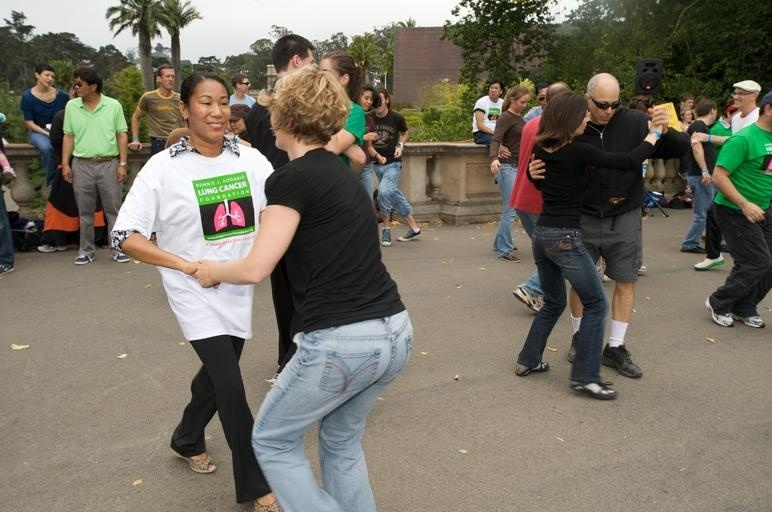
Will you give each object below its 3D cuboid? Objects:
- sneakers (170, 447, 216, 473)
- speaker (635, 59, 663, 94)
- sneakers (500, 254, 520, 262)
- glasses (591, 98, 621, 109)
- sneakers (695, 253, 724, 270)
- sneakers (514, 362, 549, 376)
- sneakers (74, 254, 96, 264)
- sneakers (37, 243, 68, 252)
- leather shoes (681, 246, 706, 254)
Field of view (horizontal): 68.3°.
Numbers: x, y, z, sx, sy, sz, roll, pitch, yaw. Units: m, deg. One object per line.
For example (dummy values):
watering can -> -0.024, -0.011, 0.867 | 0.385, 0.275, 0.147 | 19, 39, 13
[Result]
sneakers -> -1.410, 1.488, 4.148 | 0.344, 0.098, 0.151 | 20, 25, 18
speaker -> 2.576, -1.768, 5.603 | 0.226, 0.334, 0.226 | 4, 15, 20
sneakers -> 1.924, 0.007, 8.835 | 0.354, 0.112, 0.240 | -4, 14, -13
glasses -> 2.008, -1.399, 5.211 | 0.257, 0.103, 0.150 | 2, 14, 10
sneakers -> 4.834, 0.078, 8.463 | 0.526, 0.200, 0.199 | -15, 1, -1
sneakers -> 1.366, 1.038, 5.376 | 0.338, 0.122, 0.119 | -4, 10, -21
sneakers -> -4.496, 0.037, 8.497 | 0.256, 0.115, 0.335 | -7, 15, -26
sneakers -> -5.322, -0.115, 9.117 | 0.407, 0.178, 0.155 | 8, -8, -31
leather shoes -> 5.066, -0.107, 9.414 | 0.373, 0.146, 0.135 | 0, 0, 23
